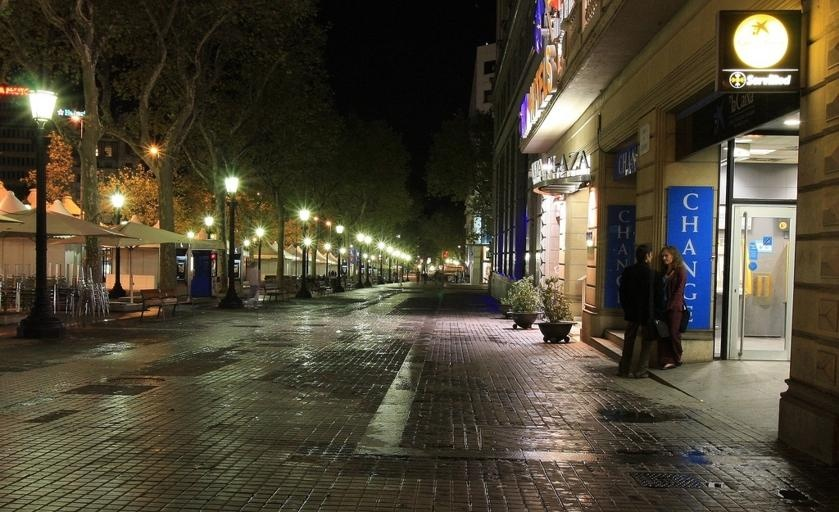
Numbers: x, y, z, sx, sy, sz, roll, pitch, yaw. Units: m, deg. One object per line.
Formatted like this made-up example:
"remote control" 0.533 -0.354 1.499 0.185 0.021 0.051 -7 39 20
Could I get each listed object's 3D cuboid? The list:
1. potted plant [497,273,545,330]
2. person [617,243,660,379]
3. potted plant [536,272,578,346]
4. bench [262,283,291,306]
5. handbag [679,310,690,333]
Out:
"potted plant" 3.795 1.596 24.054 1.856 2.245 1.677 4 -5 -44
"person" 4.753 1.243 15.176 0.773 2.823 0.539 3 9 22
"potted plant" 3.962 1.536 20.445 1.525 1.865 1.532 -4 -7 24
"bench" -7.864 2.074 37.818 1.335 1.233 1.450 0 0 24
"handbag" 5.827 1.412 15.301 0.150 0.593 0.596 4 9 28
